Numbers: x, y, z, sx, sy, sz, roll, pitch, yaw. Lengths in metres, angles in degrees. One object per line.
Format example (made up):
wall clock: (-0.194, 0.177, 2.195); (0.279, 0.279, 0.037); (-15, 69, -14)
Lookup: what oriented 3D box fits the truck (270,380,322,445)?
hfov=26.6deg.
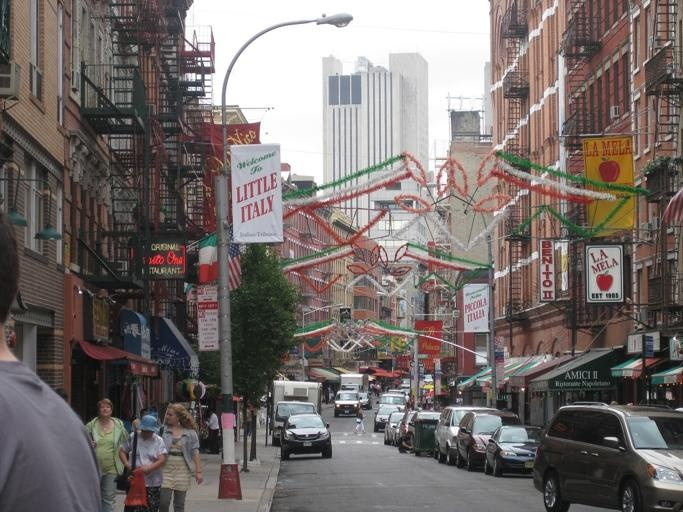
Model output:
truck: (-2.409, 7.642, 73.501); (2.503, 2.364, 5.050); (0, -10, 0)
